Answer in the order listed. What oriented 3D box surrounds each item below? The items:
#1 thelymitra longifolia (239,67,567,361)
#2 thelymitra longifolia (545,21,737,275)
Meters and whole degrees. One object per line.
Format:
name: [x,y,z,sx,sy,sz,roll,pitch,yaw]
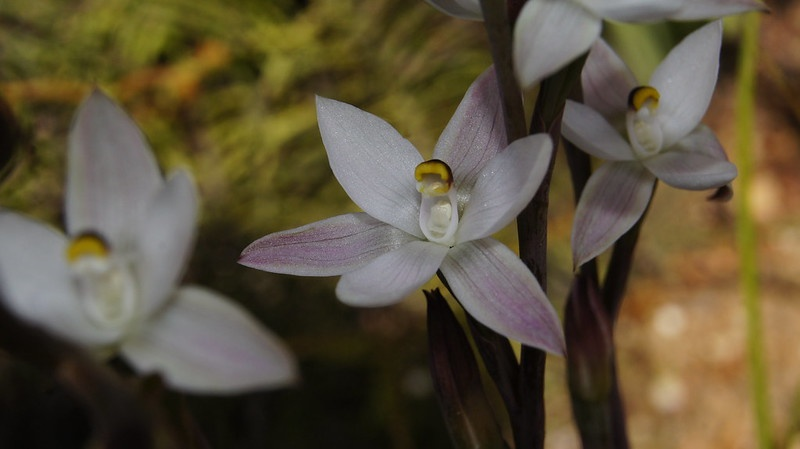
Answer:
thelymitra longifolia: [0.004,0.000,0.818,0.304,0.135,0.314,-17,64,21]
thelymitra longifolia: [0.252,-0.066,0.929,0.221,0.229,0.104,17,-2,14]
